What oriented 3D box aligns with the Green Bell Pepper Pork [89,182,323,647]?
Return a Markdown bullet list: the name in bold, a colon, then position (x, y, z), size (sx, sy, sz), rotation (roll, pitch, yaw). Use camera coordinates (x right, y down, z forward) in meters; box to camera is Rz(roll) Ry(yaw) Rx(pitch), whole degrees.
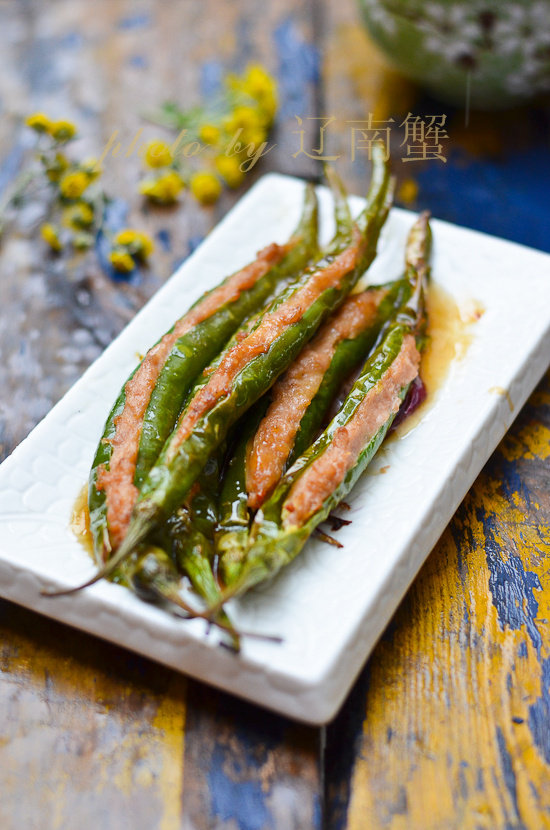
- **Green Bell Pepper Pork**: position (-0.072, -0.022, 1.221), size (0.218, 0.093, 0.641), rotation (-12, 41, 40)
